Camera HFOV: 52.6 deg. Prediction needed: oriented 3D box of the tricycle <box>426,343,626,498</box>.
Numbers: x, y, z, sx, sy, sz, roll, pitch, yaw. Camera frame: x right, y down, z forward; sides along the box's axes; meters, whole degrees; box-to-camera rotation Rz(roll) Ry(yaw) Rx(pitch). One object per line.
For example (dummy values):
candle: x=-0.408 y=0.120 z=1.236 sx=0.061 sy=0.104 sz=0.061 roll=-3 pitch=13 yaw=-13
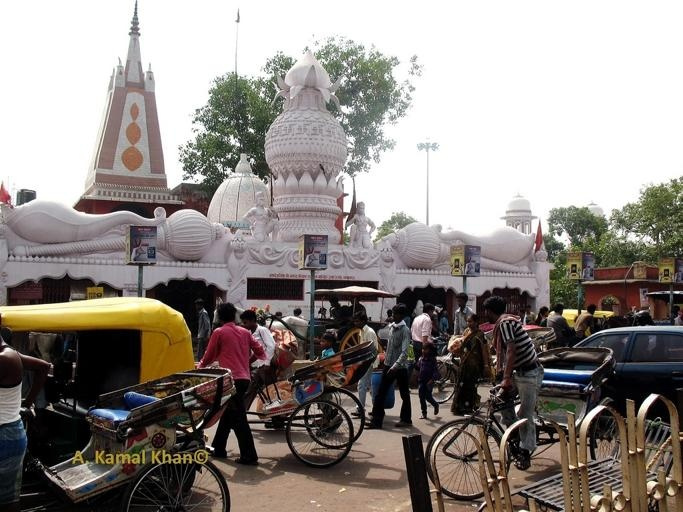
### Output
tricycle: x=2.282 y=1.844 z=7.879 sx=1.227 sy=1.261 sz=2.553 roll=11 pitch=11 yaw=35

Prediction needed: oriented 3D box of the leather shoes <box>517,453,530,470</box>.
leather shoes: x=1.918 y=2.160 z=7.370 sx=0.141 sy=0.194 sz=0.067 roll=2 pitch=-5 yaw=8

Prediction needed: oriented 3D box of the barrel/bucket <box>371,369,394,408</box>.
barrel/bucket: x=0.633 y=2.028 z=10.787 sx=0.408 sy=0.672 sz=0.442 roll=-1 pitch=2 yaw=0

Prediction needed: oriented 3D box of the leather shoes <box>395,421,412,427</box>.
leather shoes: x=0.903 y=2.504 z=10.317 sx=0.243 sy=0.113 sz=0.094 roll=4 pitch=-9 yaw=1

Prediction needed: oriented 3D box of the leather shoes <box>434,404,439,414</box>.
leather shoes: x=1.484 y=2.417 z=10.981 sx=0.069 sy=0.253 sz=0.101 roll=2 pitch=16 yaw=8

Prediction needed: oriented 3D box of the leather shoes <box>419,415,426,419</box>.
leather shoes: x=1.263 y=2.518 z=10.905 sx=0.118 sy=0.055 sz=0.041 roll=1 pitch=-5 yaw=44

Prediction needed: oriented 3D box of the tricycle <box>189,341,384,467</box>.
tricycle: x=-0.549 y=1.908 z=8.992 sx=1.759 sy=1.316 sz=1.034 roll=-5 pitch=-6 yaw=12

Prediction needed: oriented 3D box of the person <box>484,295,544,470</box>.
person: x=1.880 y=1.391 z=7.575 sx=0.647 sy=1.916 sz=0.961 roll=1 pitch=-5 yaw=10
